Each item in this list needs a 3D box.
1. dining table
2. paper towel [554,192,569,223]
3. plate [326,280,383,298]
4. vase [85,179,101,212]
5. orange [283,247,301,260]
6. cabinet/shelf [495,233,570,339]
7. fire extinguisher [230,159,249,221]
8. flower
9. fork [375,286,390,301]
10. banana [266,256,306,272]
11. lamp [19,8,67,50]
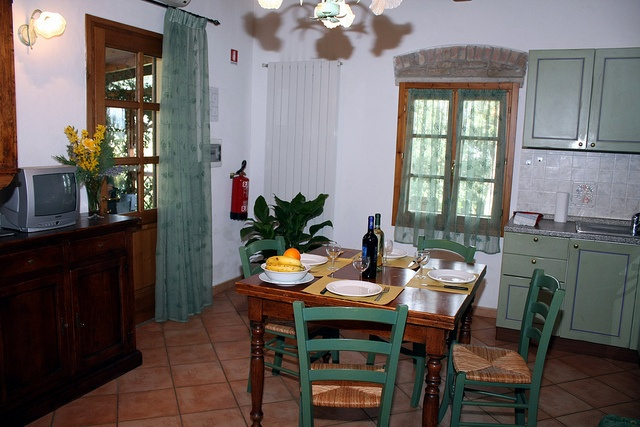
[{"bbox_3d":[0.291,1.013,3.264,1.241,1.018,1.591,2,8,20],"label":"dining table"},{"bbox_3d":[2.593,-0.067,4.637,0.147,0.312,0.145,5,10,15],"label":"paper towel"},{"bbox_3d":[0.226,0.510,2.927,0.364,0.044,0.240,6,11,19],"label":"plate"},{"bbox_3d":[-1.986,-0.163,3.797,0.121,0.315,0.143,-4,11,-29],"label":"vase"},{"bbox_3d":[-0.205,0.315,3.169,0.089,0.089,0.089,23,23,-15],"label":"orange"},{"bbox_3d":[2.239,0.781,4.528,0.705,1.060,0.686,8,-12,18],"label":"cabinet/shelf"},{"bbox_3d":[-1.033,-0.281,5.485,0.222,0.775,0.323,0,10,-11],"label":"fire extinguisher"},{"bbox_3d":[-2.029,-0.443,3.766,0.464,0.580,0.537,9,2,-14],"label":"flower"},{"bbox_3d":[0.417,0.533,2.900,0.038,0.033,0.289,6,20,19],"label":"fork"},{"bbox_3d":[-0.252,0.358,3.036,0.218,0.058,0.112,9,40,2],"label":"banana"},{"bbox_3d":[-2.255,-1.506,3.498,0.222,0.322,0.277,8,12,33],"label":"lamp"}]
